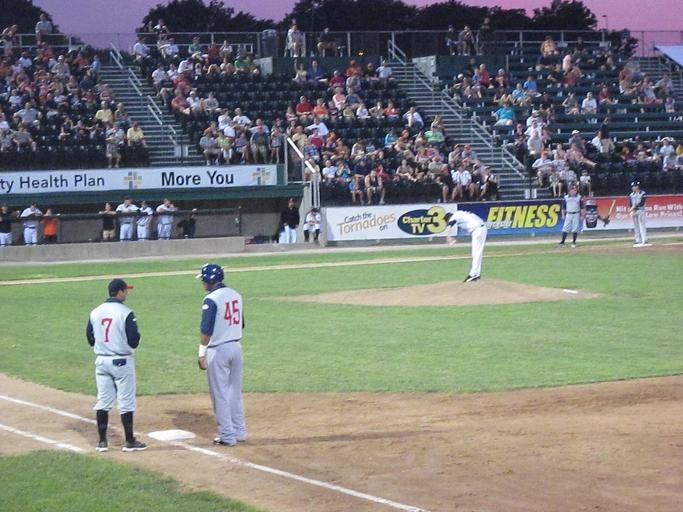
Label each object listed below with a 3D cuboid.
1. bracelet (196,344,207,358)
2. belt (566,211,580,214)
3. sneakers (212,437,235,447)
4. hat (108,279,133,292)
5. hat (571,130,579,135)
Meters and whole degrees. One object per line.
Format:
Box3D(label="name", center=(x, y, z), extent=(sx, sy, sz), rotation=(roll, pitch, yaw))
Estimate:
Box3D(label="bracelet", center=(-4.504, 3.037, 56.118), extent=(0.236, 0.393, 0.467), rotation=(0, 2, -5))
Box3D(label="belt", center=(10.751, -1.962, 80.416), extent=(0.584, 0.096, 0.169), rotation=(0, 2, -12))
Box3D(label="sneakers", center=(-3.827, 5.979, 56.098), extent=(0.691, 0.281, 0.285), rotation=(8, 10, 7))
Box3D(label="hat", center=(-7.165, 0.996, 56.064), extent=(0.716, 0.359, 0.479), rotation=(-2, 15, -13))
Box3D(label="hat", center=(11.948, -6.261, 88.607), extent=(0.486, 0.158, 0.511), rotation=(-2, -11, -3))
